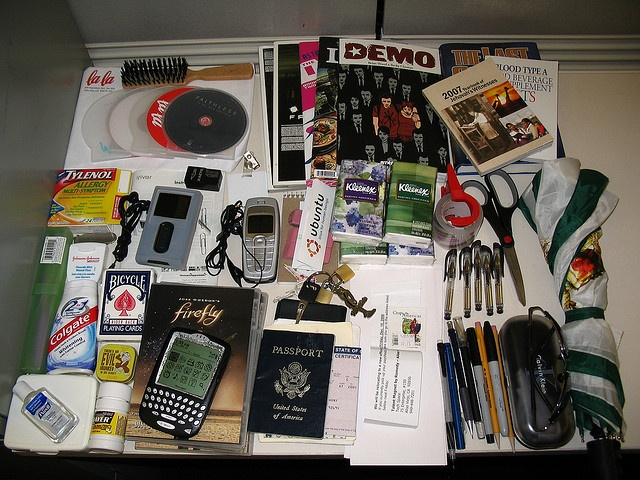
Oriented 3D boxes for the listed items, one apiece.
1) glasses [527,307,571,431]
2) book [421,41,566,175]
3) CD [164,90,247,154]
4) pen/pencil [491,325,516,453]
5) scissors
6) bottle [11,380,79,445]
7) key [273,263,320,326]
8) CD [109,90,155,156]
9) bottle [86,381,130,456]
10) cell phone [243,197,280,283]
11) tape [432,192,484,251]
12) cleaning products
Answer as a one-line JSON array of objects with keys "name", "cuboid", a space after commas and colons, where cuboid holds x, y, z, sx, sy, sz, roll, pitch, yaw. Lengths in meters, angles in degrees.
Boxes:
[{"name": "glasses", "cuboid": [0.530, 0.308, 1.248, 0.104, 0.248, 0.187, 10, 45, 8]}, {"name": "book", "cuboid": [0.521, -0.385, 1.493, 0.339, 0.248, 0.097, 45, 40, 21]}, {"name": "CD", "cuboid": [-0.360, -0.373, 1.546, 0.258, 0.059, 0.219, -6, 61, -3]}, {"name": "pen/pencil", "cuboid": [0.474, 0.381, 1.303, 0.028, 0.025, 0.358, 3, 72, -46]}, {"name": "scissors", "cuboid": [0.537, -0.020, 1.474, 0.146, 0.025, 0.411, -11, 66, 5]}, {"name": "bottle", "cuboid": [-0.693, 0.427, 1.248, 0.184, 0.047, 0.090, 40, 80, 8]}, {"name": "key", "cuboid": [-0.064, 0.155, 1.373, 0.124, 0.044, 0.162, 11, 61, 6]}, {"name": "CD", "cuboid": [-0.604, -0.369, 1.555, 0.174, 0.037, 0.187, 19, 79, -2]}, {"name": "bottle", "cuboid": [-0.537, 0.454, 1.258, 0.087, 0.093, 0.158, 3, 61, 2]}, {"name": "cell phone", "cuboid": [-0.173, -0.001, 1.425, 0.103, 0.080, 0.240, -3, 61, -1]}, {"name": "tape", "cuboid": [0.380, -0.051, 1.377, 0.136, 0.149, 0.110, 27, 64, 15]}, {"name": "cleaning products", "cuboid": [-0.705, 0.426, 1.246, 0.194, 0.035, 0.078, 33, 66, 17]}]
